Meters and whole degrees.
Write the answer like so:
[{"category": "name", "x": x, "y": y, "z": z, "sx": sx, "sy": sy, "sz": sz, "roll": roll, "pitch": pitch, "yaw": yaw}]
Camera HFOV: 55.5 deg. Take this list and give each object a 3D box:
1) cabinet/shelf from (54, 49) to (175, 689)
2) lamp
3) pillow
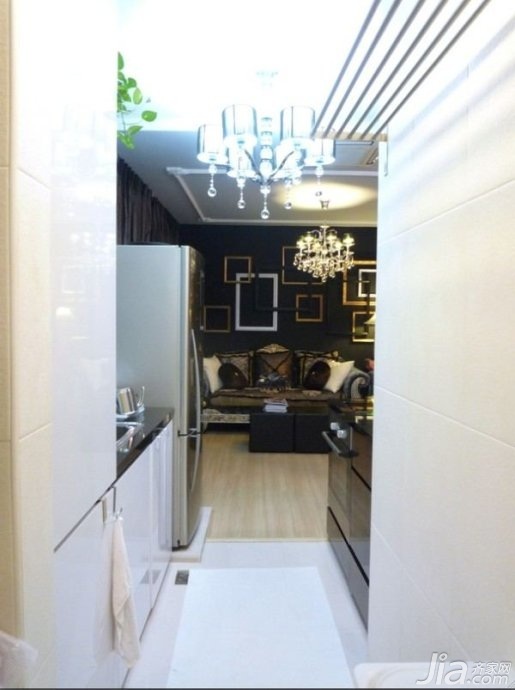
[{"category": "cabinet/shelf", "x": -1.048, "y": 0.158, "z": 1.640, "sx": 1.412, "sy": 5.244, "sz": 4.897, "roll": 1, "pitch": -1, "yaw": 3}, {"category": "lamp", "x": 0.110, "y": -1.100, "z": 3.508, "sx": 0.977, "sy": 1.911, "sz": 0.876, "roll": 0, "pitch": 7, "yaw": 7}, {"category": "pillow", "x": 0.220, "y": 0.314, "z": 5.988, "sx": 1.713, "sy": 0.495, "sz": 0.796, "roll": 2, "pitch": 2, "yaw": -5}]
